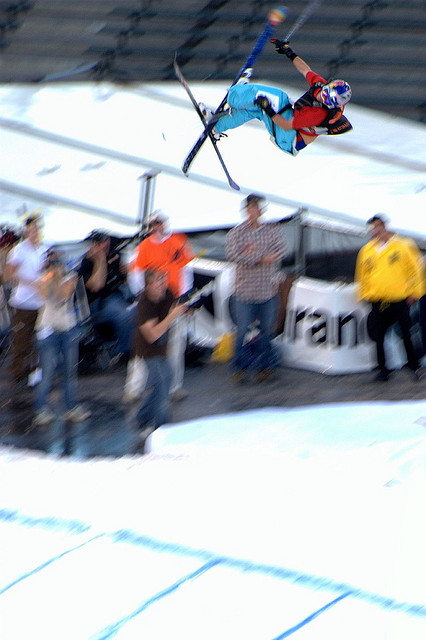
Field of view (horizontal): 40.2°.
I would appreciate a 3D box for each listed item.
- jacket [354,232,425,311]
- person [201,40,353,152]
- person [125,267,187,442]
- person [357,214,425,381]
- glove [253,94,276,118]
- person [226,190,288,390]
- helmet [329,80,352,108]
[{"bbox_3d":[1.515,-0.398,4.946,0.806,0.650,0.441,1,2,24],"label":"jacket"},{"bbox_3d":[0.608,-1.893,5.020,0.463,0.837,1.631,-8,12,-36],"label":"person"},{"bbox_3d":[-0.356,0.221,3.587,0.342,1.091,0.512,-3,10,-9],"label":"person"},{"bbox_3d":[1.580,-0.201,5.099,0.584,1.427,0.495,-9,12,-39],"label":"person"},{"bbox_3d":[0.459,-1.827,4.985,0.213,0.128,0.077,38,16,14],"label":"glove"},{"bbox_3d":[0.398,-0.283,5.213,0.554,1.656,0.827,-1,9,3],"label":"person"},{"bbox_3d":[0.952,-1.725,4.436,0.172,0.188,0.205,0,13,8],"label":"helmet"}]
